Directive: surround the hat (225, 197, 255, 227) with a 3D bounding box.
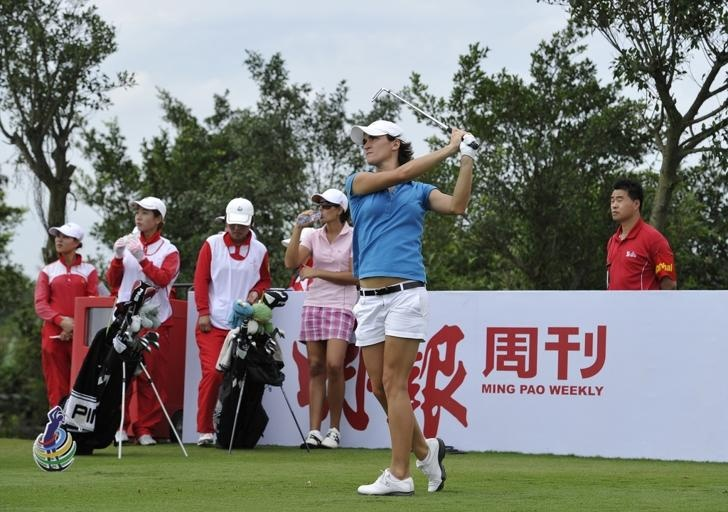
[{"bbox_3d":[-1.549,-0.525,14.378,0.317,0.376,0.459,0,-6,-10],"label":"hat"}]

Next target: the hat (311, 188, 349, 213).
[{"bbox_3d":[-0.394,-0.648,13.987,0.370,0.205,0.265,29,-9,-25],"label":"hat"}]

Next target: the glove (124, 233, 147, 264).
[{"bbox_3d":[-2.717,-0.098,13.814,0.128,0.328,0.235,-28,19,-4],"label":"glove"}]

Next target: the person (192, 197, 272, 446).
[{"bbox_3d":[-1.631,0.736,14.440,0.881,3.204,0.847,1,-4,-7],"label":"person"}]

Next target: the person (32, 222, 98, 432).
[{"bbox_3d":[-4.002,0.771,15.562,0.830,2.489,0.731,0,-5,-9],"label":"person"}]
